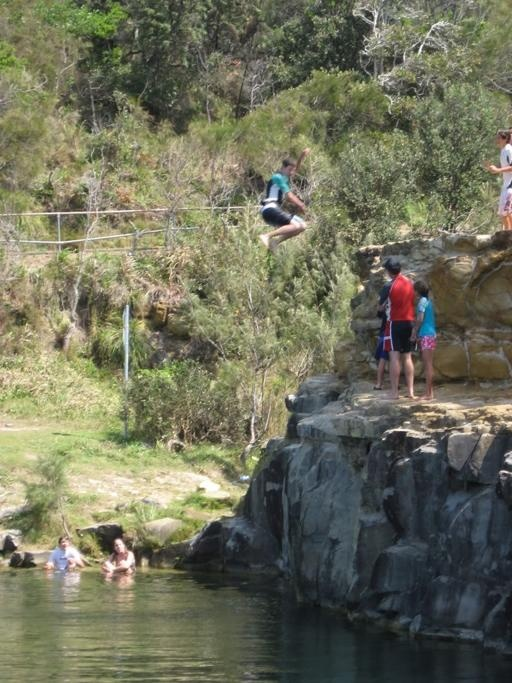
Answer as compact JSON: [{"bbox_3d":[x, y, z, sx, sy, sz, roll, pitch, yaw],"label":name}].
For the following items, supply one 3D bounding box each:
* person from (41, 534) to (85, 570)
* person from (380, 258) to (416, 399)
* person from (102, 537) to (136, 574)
[{"bbox_3d":[-3.422,3.802,25.176,0.720,0.591,0.584,0,11,-11],"label":"person"},{"bbox_3d":[2.286,-0.186,22.303,0.545,2.226,0.328,2,10,4],"label":"person"},{"bbox_3d":[-2.410,3.920,24.873,0.524,0.776,0.552,-14,-23,29],"label":"person"}]
